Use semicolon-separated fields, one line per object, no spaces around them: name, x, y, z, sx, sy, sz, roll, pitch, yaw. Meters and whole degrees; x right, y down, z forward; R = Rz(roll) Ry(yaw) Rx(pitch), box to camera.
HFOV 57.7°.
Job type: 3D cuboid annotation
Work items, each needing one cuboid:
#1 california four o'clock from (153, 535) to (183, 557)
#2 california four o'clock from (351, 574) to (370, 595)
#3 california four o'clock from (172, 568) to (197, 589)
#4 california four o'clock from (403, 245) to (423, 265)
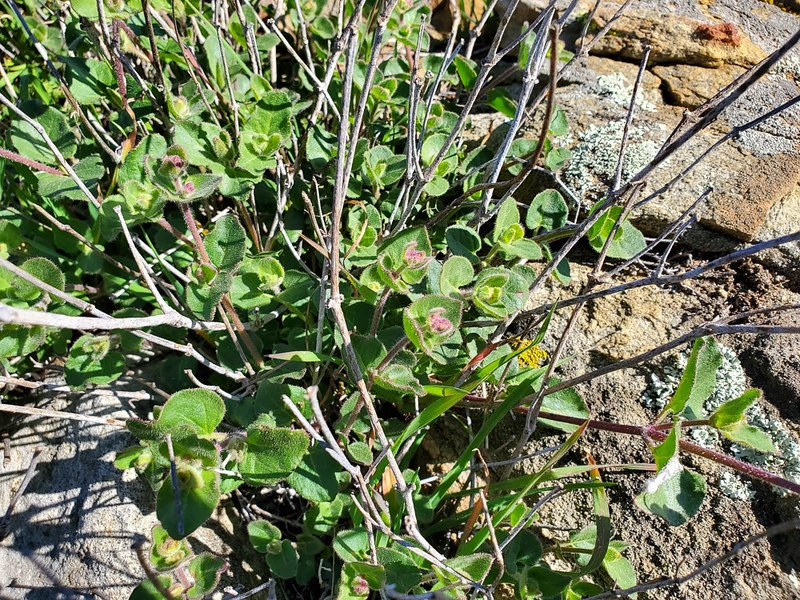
california four o'clock;-0.828;0.878;2.602;0.076;0.032;0.088;10;96;-11
california four o'clock;-0.148;1.013;2.600;0.059;0.066;0.018;29;16;19
california four o'clock;-0.777;0.995;2.629;0.056;0.025;0.106;-32;103;-47
california four o'clock;0.046;-0.153;2.533;0.055;0.034;0.071;-11;60;-1
